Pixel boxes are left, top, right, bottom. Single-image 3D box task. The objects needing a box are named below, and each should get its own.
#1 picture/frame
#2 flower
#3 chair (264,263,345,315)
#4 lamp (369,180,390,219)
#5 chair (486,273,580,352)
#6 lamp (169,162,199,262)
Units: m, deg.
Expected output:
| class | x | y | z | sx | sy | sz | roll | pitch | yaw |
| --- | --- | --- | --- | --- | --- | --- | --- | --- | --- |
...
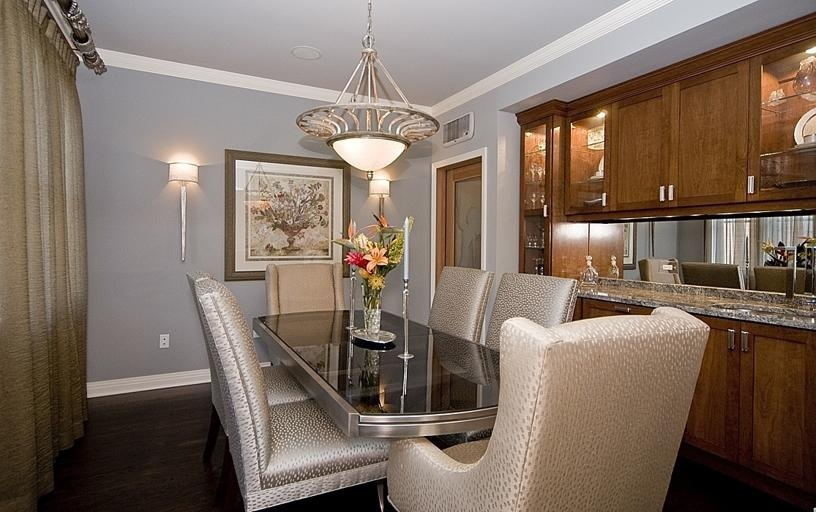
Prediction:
| class | x | y | z | sx | sy | sz | roll | pitch | yaw |
| --- | --- | --- | --- | --- | --- | --- | --- | --- | --- |
| picture/frame | -1.385 | -0.469 | 5.603 | 1.568 | 1.463 | 0.062 | 1 | -2 | -29 |
| flower | -0.220 | 0.073 | 3.793 | 0.494 | 0.680 | 0.557 | 2 | 3 | 32 |
| chair | -1.065 | 0.354 | 5.284 | 0.538 | 0.739 | 0.600 | 1 | -6 | -21 |
| lamp | -0.326 | -0.671 | 6.100 | 0.285 | 0.419 | 0.277 | -3 | -4 | -37 |
| chair | 0.867 | 0.464 | 3.601 | 0.485 | 0.793 | 0.522 | 0 | -21 | 22 |
| lamp | -2.289 | -0.470 | 5.268 | 0.302 | 1.046 | 0.251 | -2 | 3 | -24 |
